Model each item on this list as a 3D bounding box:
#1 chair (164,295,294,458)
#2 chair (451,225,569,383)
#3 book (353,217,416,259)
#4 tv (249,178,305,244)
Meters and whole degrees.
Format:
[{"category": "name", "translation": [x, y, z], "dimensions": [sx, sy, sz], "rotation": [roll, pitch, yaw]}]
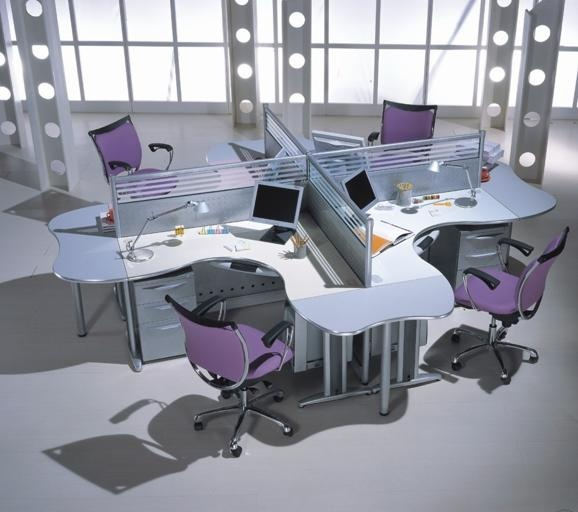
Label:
[{"category": "chair", "translation": [-0.399, 0.805, 3.129], "dimensions": [0.509, 0.764, 0.535], "rotation": [22, 40, 30]}, {"category": "chair", "translation": [1.528, 0.276, 3.545], "dimensions": [0.652, 1.058, 0.645], "rotation": [11, 23, 30]}, {"category": "book", "translation": [0.701, -0.212, 3.653], "dimensions": [0.342, 0.040, 0.314], "rotation": [-21, 41, -30]}, {"category": "tv", "translation": [-0.112, -0.339, 3.830], "dimensions": [0.402, 0.463, 0.217], "rotation": [11, 41, 15]}]
